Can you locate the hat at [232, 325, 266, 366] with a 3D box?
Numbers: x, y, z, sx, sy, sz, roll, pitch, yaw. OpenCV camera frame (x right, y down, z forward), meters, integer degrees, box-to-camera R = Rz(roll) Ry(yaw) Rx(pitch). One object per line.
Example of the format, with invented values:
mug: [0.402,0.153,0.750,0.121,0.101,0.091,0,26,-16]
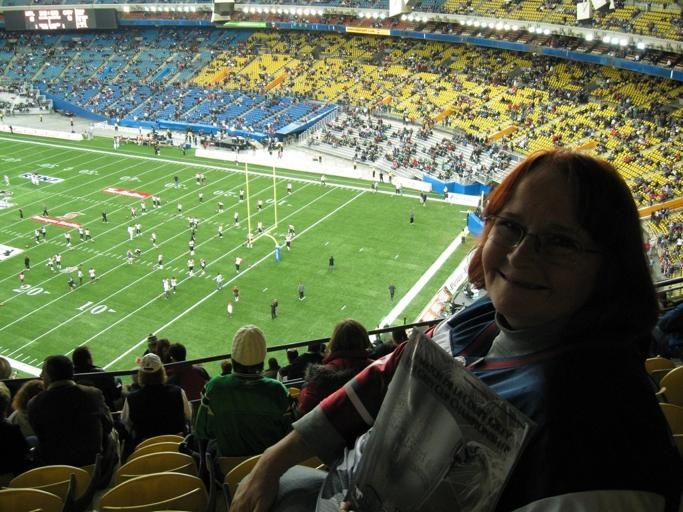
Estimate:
hat: [-0.705,0.633,5.267,0.318,0.229,0.446,0,23,-3]
